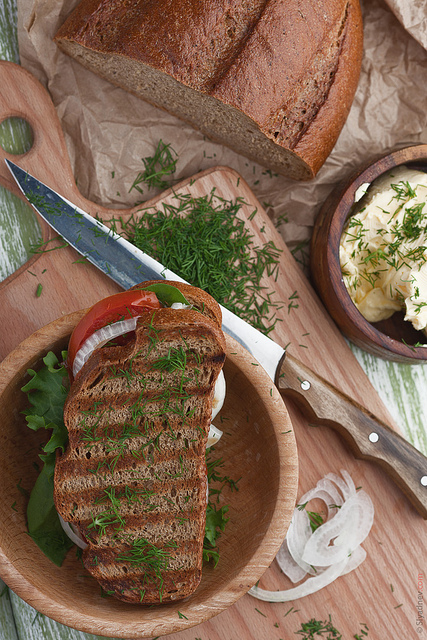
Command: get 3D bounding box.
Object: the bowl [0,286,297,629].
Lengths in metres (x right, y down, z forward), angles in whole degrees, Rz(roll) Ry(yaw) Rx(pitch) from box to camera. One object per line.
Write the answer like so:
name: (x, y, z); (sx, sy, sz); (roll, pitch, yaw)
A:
bowl: (-0.143, 0.297, 1.309); (0.628, 0.575, 0.628); (5, 53, -7)

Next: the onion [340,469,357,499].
onion: (0.387, 0.462, 1.740); (0.022, 0.011, 0.103); (-19, 86, -9)

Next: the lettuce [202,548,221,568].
lettuce: (-0.009, 0.539, 1.407); (0.044, 0.057, 0.017); (37, 82, -2)

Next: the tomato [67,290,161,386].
tomato: (-0.225, 0.040, 1.335); (0.174, 0.213, 0.057); (-24, 105, 9)

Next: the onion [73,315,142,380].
onion: (-0.222, 0.052, 1.297); (0.145, 0.035, 0.105); (-45, 92, -2)

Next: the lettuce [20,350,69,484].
lettuce: (-0.368, 0.219, 1.413); (0.128, 0.069, 0.276); (3, 90, 22)

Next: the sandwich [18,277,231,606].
sandwich: (-0.179, 0.249, 1.451); (0.539, 0.190, 0.663); (4, 92, -4)

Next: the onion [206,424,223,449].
onion: (0.010, 0.278, 1.478); (0.055, 0.055, 0.044); (0, 50, 9)

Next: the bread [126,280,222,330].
bread: (-0.086, -0.025, 1.428); (0.265, 0.198, 0.076); (8, 72, -41)

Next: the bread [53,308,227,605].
bread: (-0.164, 0.272, 1.349); (0.385, 0.123, 0.610); (4, 95, -3)
